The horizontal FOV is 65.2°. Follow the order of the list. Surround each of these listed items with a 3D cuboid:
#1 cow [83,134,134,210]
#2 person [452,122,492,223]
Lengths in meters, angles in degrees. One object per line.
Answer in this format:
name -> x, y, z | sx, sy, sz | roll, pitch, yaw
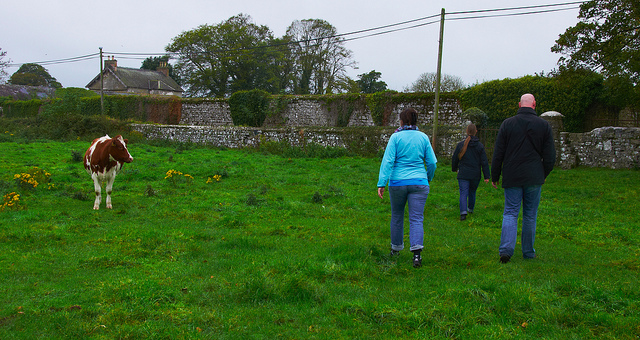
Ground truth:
cow -> -8.856, 0.027, 20.662 | 2.028, 2.959, 1.096 | 7, 8, 33
person -> 6.090, 0.069, 20.402 | 1.327, 3.805, 1.084 | 1, 7, -13
